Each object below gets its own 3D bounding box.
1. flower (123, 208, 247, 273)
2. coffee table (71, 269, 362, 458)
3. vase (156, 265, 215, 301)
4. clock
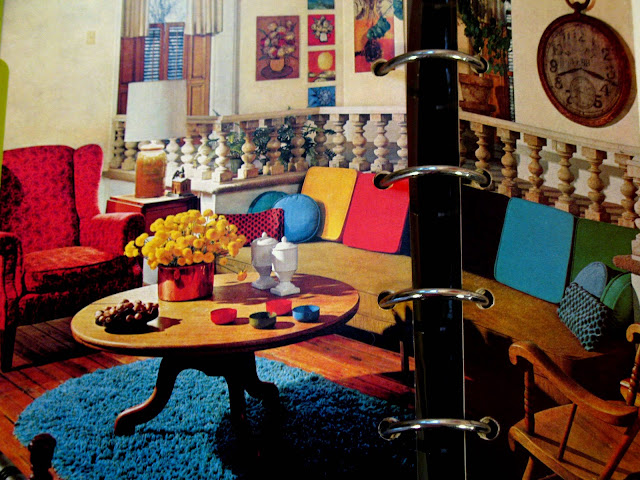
[{"bbox_3d":[-0.478,-0.040,2.230,0.306,0.126,0.264,-5,6,-29],"label":"flower"},{"bbox_3d":[-0.353,0.320,2.090,0.689,0.316,0.681,-2,9,-21],"label":"coffee table"},{"bbox_3d":[-0.476,0.135,2.245,0.147,0.097,0.152,0,1,35],"label":"vase"},{"bbox_3d":[0.745,-0.493,1.765,0.248,0.342,0.368,5,10,15],"label":"clock"}]
